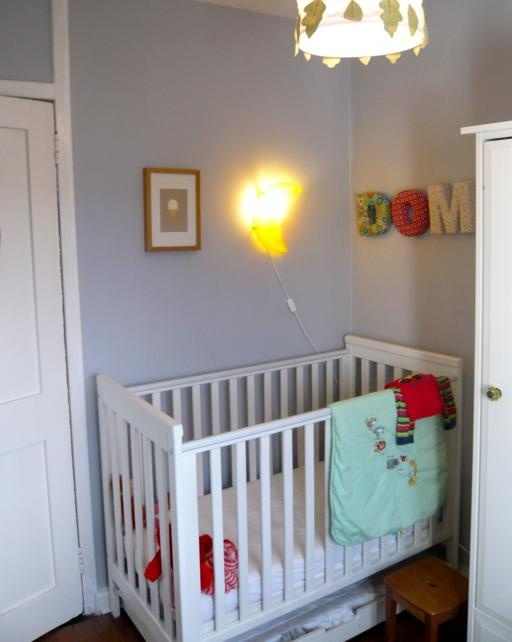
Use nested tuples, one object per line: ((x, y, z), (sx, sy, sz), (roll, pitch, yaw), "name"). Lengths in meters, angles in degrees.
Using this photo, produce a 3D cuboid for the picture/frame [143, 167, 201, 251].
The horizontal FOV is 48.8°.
((-0.331, -0.433, 2.148), (0.244, 0.386, 0.032), (-8, 14, -34), "picture/frame")
